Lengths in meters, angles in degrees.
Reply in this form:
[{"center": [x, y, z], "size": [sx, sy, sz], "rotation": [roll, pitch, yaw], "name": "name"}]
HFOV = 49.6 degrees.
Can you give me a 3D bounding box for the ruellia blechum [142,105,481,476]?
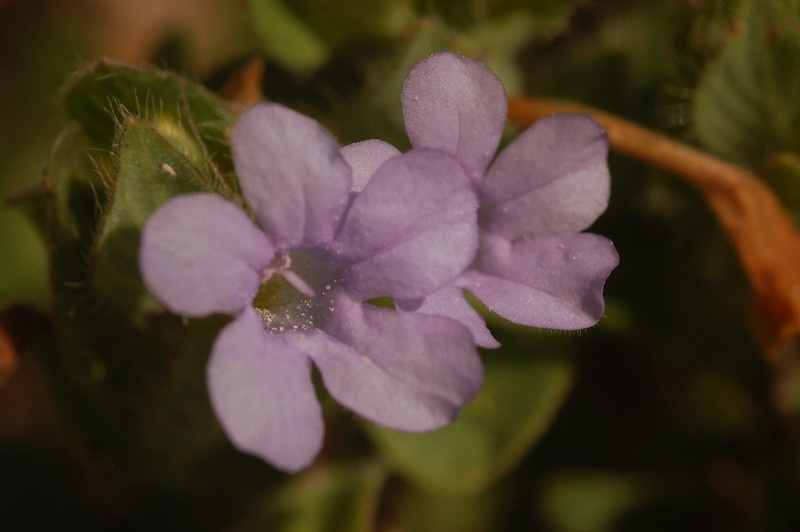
[{"center": [-0.056, 0.012, 0.546], "size": [0.208, 0.094, 0.211], "rotation": [-3, 68, 3], "name": "ruellia blechum"}]
